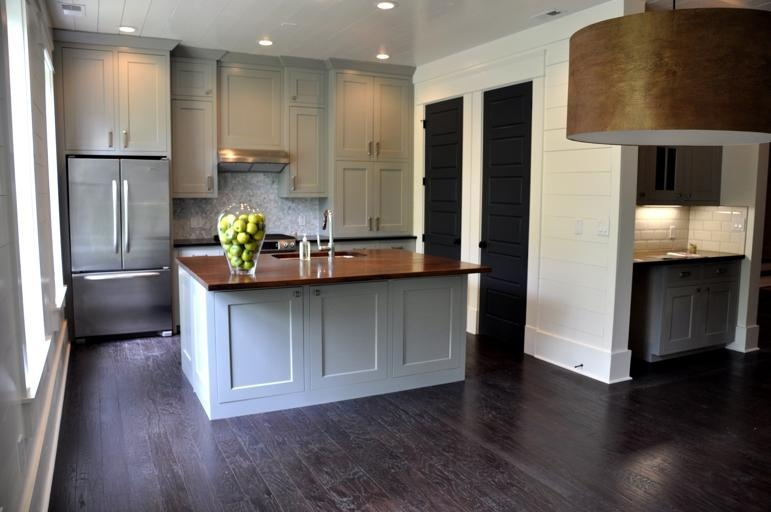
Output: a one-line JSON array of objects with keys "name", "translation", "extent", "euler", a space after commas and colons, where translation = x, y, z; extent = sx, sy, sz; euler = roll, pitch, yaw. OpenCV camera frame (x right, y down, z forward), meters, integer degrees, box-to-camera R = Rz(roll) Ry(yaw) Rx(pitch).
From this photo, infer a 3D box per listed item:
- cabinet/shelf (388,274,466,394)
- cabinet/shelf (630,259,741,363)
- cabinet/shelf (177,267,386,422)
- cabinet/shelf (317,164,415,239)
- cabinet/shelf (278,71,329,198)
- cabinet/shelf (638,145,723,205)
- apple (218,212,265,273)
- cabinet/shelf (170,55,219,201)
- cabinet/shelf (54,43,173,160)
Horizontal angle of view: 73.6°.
[{"name": "cabinet/shelf", "translation": [0.227, 0.625, 4.604], "extent": [0.750, 0.953, 0.595], "euler": [-1, 3, -35]}, {"name": "cabinet/shelf", "translation": [2.969, 0.499, 5.206], "extent": [1.335, 1.018, 0.363], "euler": [-4, 13, -21]}, {"name": "cabinet/shelf", "translation": [-0.735, 0.700, 4.002], "extent": [1.292, 0.794, 1.290], "euler": [-1, 2, -27]}, {"name": "cabinet/shelf", "translation": [-0.232, -0.742, 6.773], "extent": [1.146, 1.042, 0.411], "euler": [-3, 6, -28]}, {"name": "cabinet/shelf", "translation": [-1.035, -1.550, 6.549], "extent": [0.580, 1.471, 0.555], "euler": [-1, -12, 7]}, {"name": "cabinet/shelf", "translation": [3.054, -0.810, 5.316], "extent": [1.245, 0.620, 0.271], "euler": [-7, 14, -31]}, {"name": "apple", "translation": [-1.095, -0.101, 3.940], "extent": [0.323, 0.459, 0.197], "euler": [-3, 13, -15]}, {"name": "cabinet/shelf", "translation": [-2.200, -1.464, 5.906], "extent": [0.527, 1.572, 0.133], "euler": [1, 3, 5]}, {"name": "cabinet/shelf", "translation": [-2.928, -1.666, 5.455], "extent": [1.338, 1.322, 0.511], "euler": [-1, 5, -21]}]
